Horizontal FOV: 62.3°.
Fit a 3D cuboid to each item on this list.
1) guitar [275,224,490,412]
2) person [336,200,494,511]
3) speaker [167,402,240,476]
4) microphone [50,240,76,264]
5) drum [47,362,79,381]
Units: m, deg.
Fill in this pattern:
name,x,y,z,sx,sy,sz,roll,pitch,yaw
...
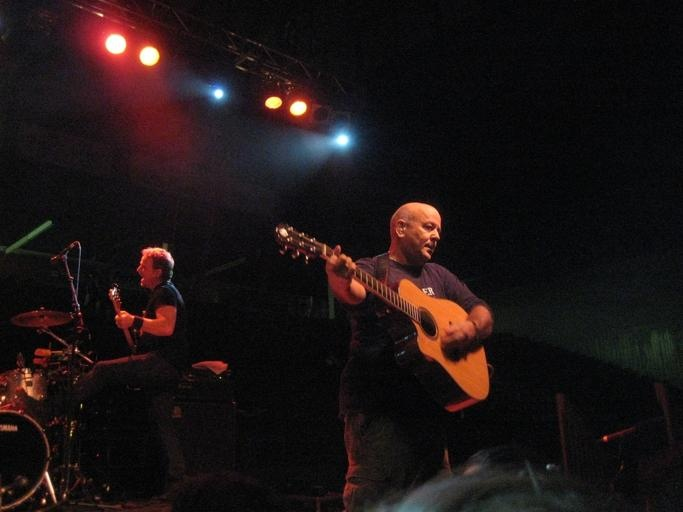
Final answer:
name,x,y,z,sx,sy,sz,roll,pitch,yaw
guitar,0.635,0.650,4.468,0.301,0.990,2.366,-26,-55,35
person,0.469,0.722,4.580,1.467,2.491,0.586,6,-12,-32
speaker,-1.504,2.037,6.376,0.718,0.747,0.730,-9,-16,26
microphone,-3.803,-0.057,7.689,0.187,0.222,0.820,13,5,-13
drum,-2.947,1.243,5.977,0.324,0.146,0.078,5,-12,-28
